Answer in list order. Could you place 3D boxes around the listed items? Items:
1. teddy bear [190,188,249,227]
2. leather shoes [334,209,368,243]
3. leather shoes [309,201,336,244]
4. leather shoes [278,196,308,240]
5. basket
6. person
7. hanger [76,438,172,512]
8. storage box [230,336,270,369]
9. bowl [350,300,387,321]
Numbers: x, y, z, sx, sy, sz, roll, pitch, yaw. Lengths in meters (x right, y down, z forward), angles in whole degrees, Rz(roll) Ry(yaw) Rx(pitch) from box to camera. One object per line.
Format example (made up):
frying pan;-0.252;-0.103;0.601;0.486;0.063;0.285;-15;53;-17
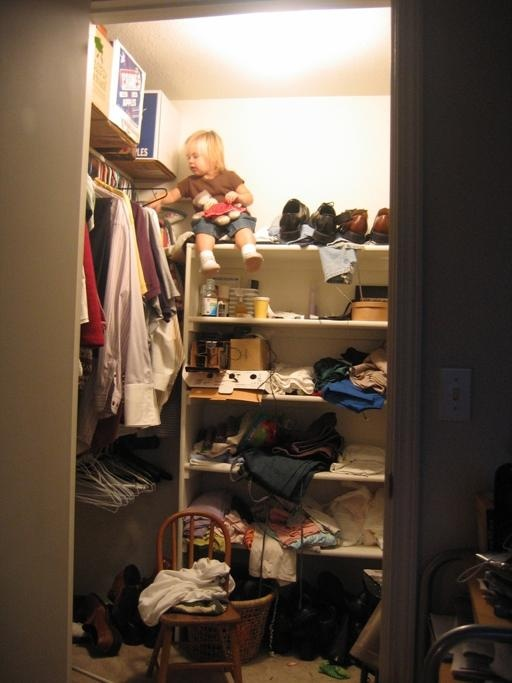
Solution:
teddy bear;-0.195;-0.593;2.552;0.263;0.171;0.131;2;1;38
leather shoes;0.410;-0.490;2.462;0.127;0.149;0.086;1;1;7
leather shoes;0.293;-0.505;2.470;0.108;0.189;0.107;1;1;1
leather shoes;0.187;-0.566;2.537;0.105;0.112;0.254;8;36;19
basket;-0.107;1.127;2.316;0.315;0.236;0.325;-4;-7;17
person;-0.162;-0.609;2.579;0.449;0.736;0.237;-10;-27;10
hanger;-0.615;0.594;2.645;0.289;0.276;0.491;1;1;20
storage box;-0.034;0.053;2.622;0.142;0.148;0.151;0;-1;5
bowl;0.477;-0.132;2.454;0.168;0.098;0.181;1;1;0
